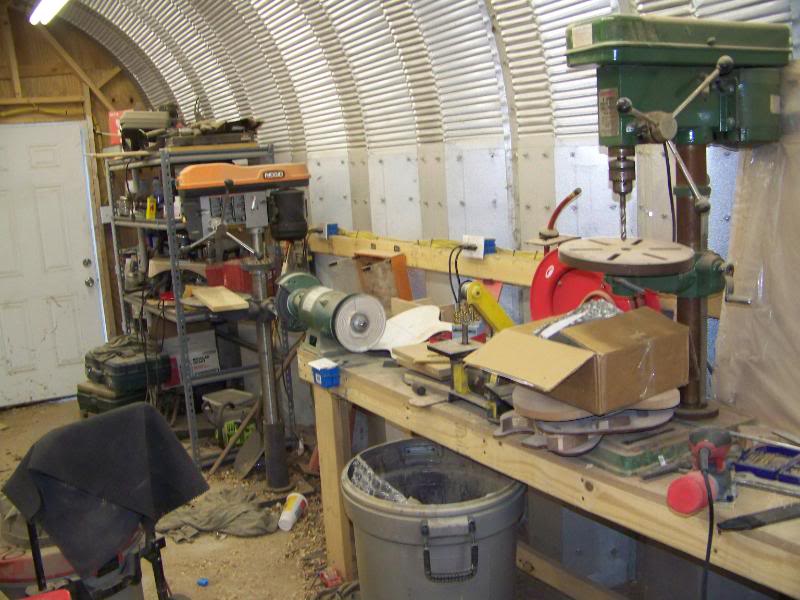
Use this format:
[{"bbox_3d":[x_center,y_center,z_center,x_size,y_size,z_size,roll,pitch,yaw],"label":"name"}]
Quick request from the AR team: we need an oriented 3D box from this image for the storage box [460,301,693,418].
[{"bbox_3d":[0.764,0.198,2.804,0.832,0.317,0.960,0,12,35],"label":"storage box"}]

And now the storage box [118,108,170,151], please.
[{"bbox_3d":[-2.126,-1.428,5.872,0.421,0.219,0.420,-1,-16,-10],"label":"storage box"}]

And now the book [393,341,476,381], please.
[{"bbox_3d":[0.131,0.275,3.321,0.220,0.057,0.220,-7,12,-43],"label":"book"}]

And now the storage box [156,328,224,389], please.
[{"bbox_3d":[-1.765,0.515,6.183,0.504,0.502,0.316,-6,-19,-22],"label":"storage box"}]

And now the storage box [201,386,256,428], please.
[{"bbox_3d":[-1.406,0.827,5.917,0.353,0.190,0.279,-9,15,-42],"label":"storage box"}]

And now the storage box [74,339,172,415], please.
[{"bbox_3d":[-2.451,0.648,6.378,0.644,0.630,0.807,-8,11,-42],"label":"storage box"}]

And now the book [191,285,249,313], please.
[{"bbox_3d":[-1.376,-0.005,5.496,0.324,0.152,0.712,-8,10,-25],"label":"book"}]
